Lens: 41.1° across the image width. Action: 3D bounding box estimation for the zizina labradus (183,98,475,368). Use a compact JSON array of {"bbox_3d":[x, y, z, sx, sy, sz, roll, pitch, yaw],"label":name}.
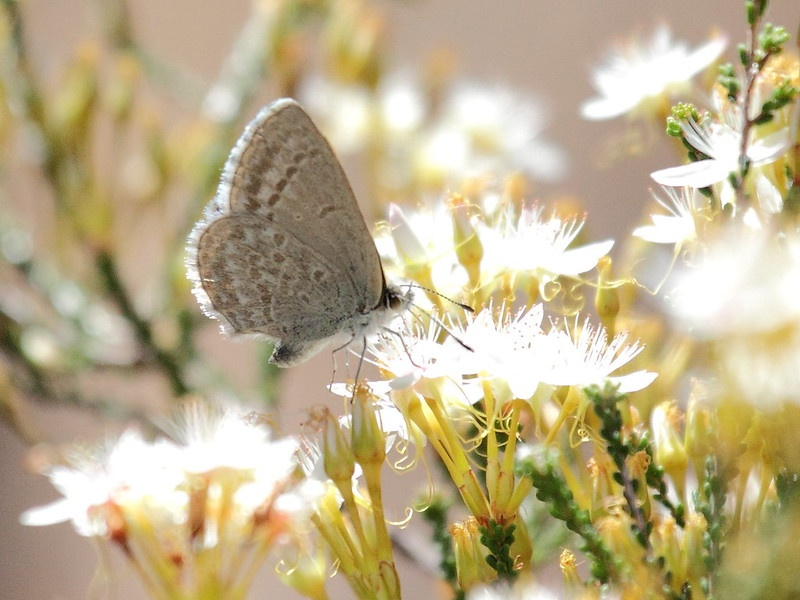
[{"bbox_3d":[-0.066,-0.044,1.220,0.288,0.340,0.262,-1,-106,3],"label":"zizina labradus"}]
